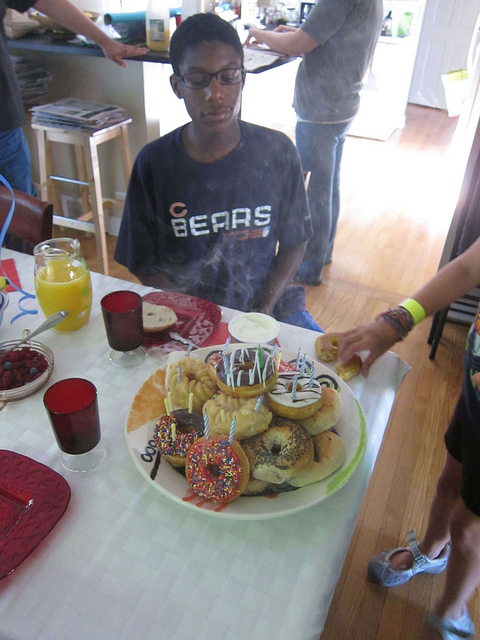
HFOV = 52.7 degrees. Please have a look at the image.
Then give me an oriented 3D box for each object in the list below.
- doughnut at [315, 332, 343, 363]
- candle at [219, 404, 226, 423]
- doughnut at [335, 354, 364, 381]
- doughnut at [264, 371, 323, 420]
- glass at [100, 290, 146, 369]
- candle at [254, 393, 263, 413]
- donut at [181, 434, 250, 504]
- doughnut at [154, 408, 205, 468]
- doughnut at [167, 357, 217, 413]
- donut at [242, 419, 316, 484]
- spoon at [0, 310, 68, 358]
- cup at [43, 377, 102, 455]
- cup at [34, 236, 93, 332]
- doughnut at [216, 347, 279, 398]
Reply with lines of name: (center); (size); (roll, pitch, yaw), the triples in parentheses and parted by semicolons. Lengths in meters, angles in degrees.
doughnut: (0.170, 0.043, 0.934); (0.049, 0.039, 0.090); (9, 29, 11)
candle: (-0.022, 0.124, 0.620); (0.007, 0.012, 0.003); (4, 1, 24)
doughnut: (0.198, 0.085, 0.872); (0.068, 0.020, 0.039); (-19, 35, -34)
doughnut: (0.077, 0.110, 0.658); (0.069, 0.026, 0.069); (0, 17, 11)
glass: (-0.207, 0.017, 0.865); (0.076, 0.119, 0.075); (2, 29, -2)
candle: (0.023, 0.104, 0.611); (0.007, 0.021, 0.025); (6, 29, 6)
donut: (-0.030, 0.178, 0.589); (0.071, 0.068, 0.076); (-5, 30, -14)
doughnut: (-0.090, 0.157, 0.650); (0.070, 0.026, 0.070); (34, 10, -37)
doughnut: (-0.069, 0.092, 0.702); (0.058, 0.027, 0.070); (-1, 36, -7)
donut: (0.051, 0.167, 0.612); (0.086, 0.043, 0.078); (-10, 31, -22)
spoon: (-0.384, 0.030, 0.907); (0.122, 0.024, 0.020); (-37, 29, -18)
cup: (-0.228, 0.137, 0.656); (0.064, 0.060, 0.094); (-20, 65, -3)
cup: (-0.348, -0.064, 0.953); (0.106, 0.166, 0.099); (0, 22, 0)
doughnut: (0.007, 0.067, 0.656); (0.083, 0.047, 0.076); (11, 30, 15)
